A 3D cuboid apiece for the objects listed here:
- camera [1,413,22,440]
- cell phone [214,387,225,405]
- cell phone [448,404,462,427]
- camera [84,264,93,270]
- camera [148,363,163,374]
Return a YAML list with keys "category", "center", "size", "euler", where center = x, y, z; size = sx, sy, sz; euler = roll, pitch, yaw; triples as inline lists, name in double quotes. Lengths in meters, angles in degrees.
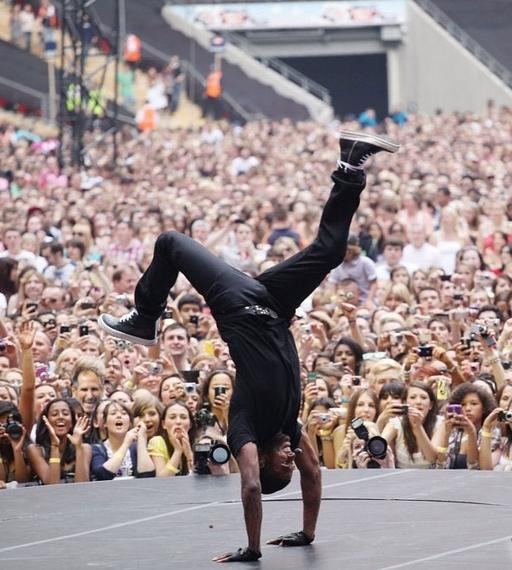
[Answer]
- category: "camera"
  center: [-2.274, 1.328, 14.408]
  size: [0.175, 0.205, 0.290]
  euler: [5, 1, -9]
- category: "cell phone"
  center: [-0.343, 1.030, 14.769]
  size: [0.031, 0.110, 0.129]
  euler: [12, -10, -43]
- category: "cell phone"
  center: [1.893, 1.218, 14.434]
  size: [0.161, 0.194, 0.151]
  euler: [5, 1, 5]
- category: "camera"
  center: [-2.106, -0.233, 19.350]
  size: [0.073, 0.029, 0.095]
  euler: [6, 9, 1]
- category: "camera"
  center: [-1.003, 0.835, 15.561]
  size: [0.125, 0.095, 0.116]
  euler: [1, 2, -2]
